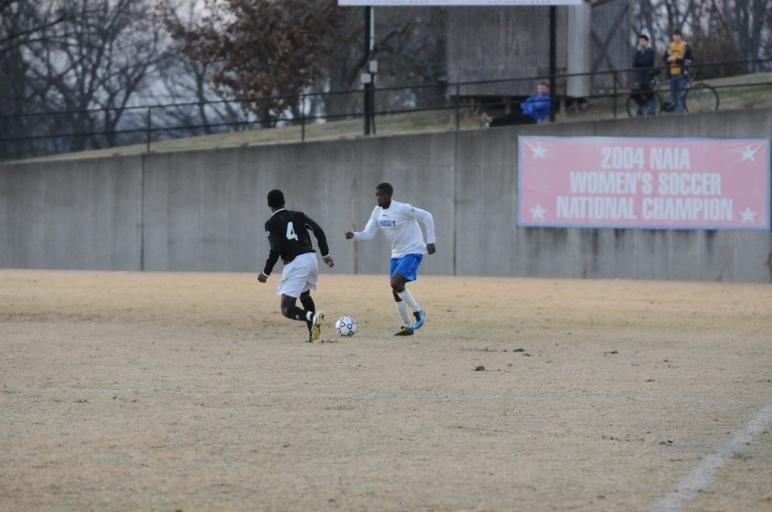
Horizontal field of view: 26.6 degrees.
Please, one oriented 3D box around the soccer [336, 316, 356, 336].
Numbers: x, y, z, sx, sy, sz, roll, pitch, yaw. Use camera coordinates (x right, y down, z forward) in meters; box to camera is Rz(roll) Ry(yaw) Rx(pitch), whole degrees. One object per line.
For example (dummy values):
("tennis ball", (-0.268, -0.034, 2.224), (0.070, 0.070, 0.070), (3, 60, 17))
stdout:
("soccer", (-1.065, 1.780, 42.355), (0.489, 0.455, 0.475), (13, 7, 12))
